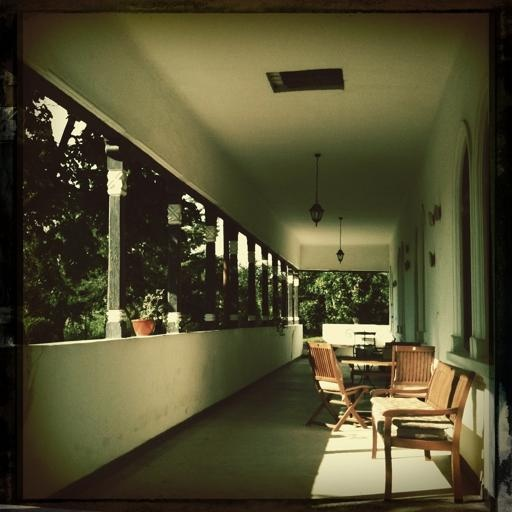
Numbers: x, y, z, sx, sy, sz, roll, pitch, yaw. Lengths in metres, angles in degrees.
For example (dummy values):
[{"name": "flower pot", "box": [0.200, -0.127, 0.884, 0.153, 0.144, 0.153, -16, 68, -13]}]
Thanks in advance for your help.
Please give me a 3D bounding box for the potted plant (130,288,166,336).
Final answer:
[{"name": "potted plant", "box": [-1.162, 0.626, 5.393, 0.254, 0.483, 0.252, -6, -17, 19]}]
